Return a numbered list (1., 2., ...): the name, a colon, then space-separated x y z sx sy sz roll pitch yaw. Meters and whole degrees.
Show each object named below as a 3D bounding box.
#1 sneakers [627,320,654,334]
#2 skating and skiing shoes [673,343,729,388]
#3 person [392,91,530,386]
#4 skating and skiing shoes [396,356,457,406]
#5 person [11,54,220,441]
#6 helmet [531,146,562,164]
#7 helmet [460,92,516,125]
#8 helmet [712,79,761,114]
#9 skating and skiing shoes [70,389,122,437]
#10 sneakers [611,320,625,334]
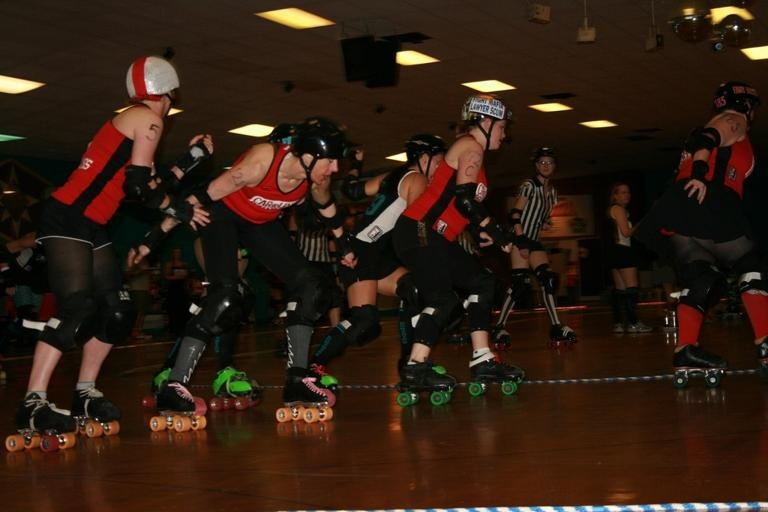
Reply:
1. sneakers: 3.235 0.883 8.653 0.391 0.128 0.152 -2 2 -9
2. skating and skiing shoes: 2.208 0.771 4.939 0.417 0.250 0.242 1 4 -4
3. person: 0.510 0.027 5.037 0.855 1.776 0.526 -1 -7 16
4. skating and skiing shoes: 0.301 0.891 4.865 0.477 0.242 0.260 0 -3 11
5. person: -1.701 -0.124 4.297 0.832 2.377 0.609 -3 -8 31
6. helmet: 1.908 -1.203 8.196 0.243 0.097 0.213 1 -20 4
7. helmet: 0.778 -1.088 5.094 0.353 0.121 0.208 -3 13 -10
8. helmet: 2.735 -1.207 5.276 0.389 0.262 0.298 -1 2 -3
9. skating and skiing shoes: -1.849 0.979 4.393 0.206 0.224 0.613 4 -2 -44
10. sneakers: 3.001 0.905 8.812 0.122 0.096 0.251 -1 -8 9
